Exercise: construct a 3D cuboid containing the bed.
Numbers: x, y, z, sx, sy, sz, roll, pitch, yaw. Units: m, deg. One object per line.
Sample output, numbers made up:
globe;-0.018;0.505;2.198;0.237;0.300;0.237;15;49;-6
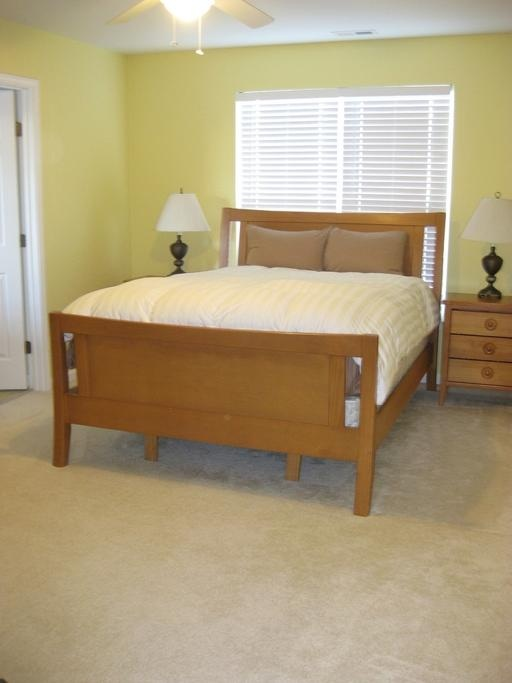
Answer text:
bed;0.239;-0.052;3.243;1.643;1.200;2.032;3;7;25
